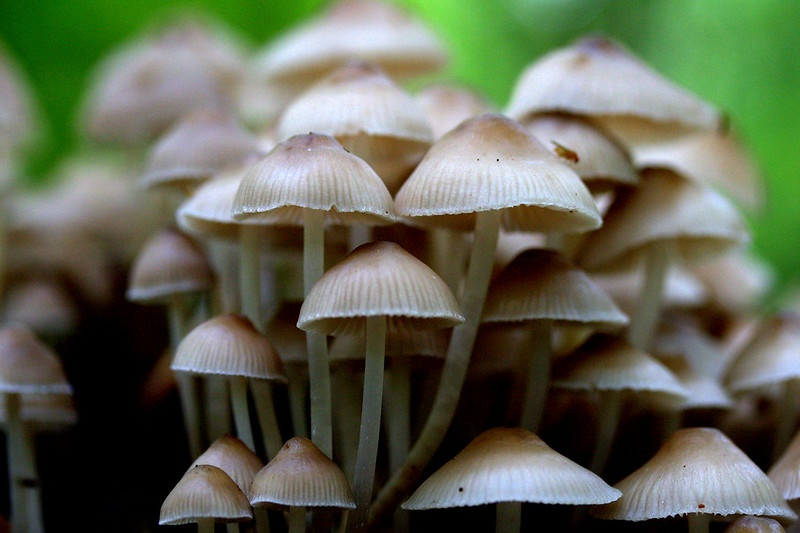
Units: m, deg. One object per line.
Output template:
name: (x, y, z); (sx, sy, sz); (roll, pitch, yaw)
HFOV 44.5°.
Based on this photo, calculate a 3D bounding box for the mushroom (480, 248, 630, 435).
mushroom: (0.323, 0.177, 2.237); (0.346, 0.455, 0.372); (0, 10, 15)

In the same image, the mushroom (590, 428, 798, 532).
mushroom: (0.598, 0.430, 1.963); (0.230, 0.136, 0.253); (3, -18, 4)

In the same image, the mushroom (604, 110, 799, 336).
mushroom: (0.730, -0.103, 2.437); (0.441, 0.575, 0.450); (1, 5, 16)
